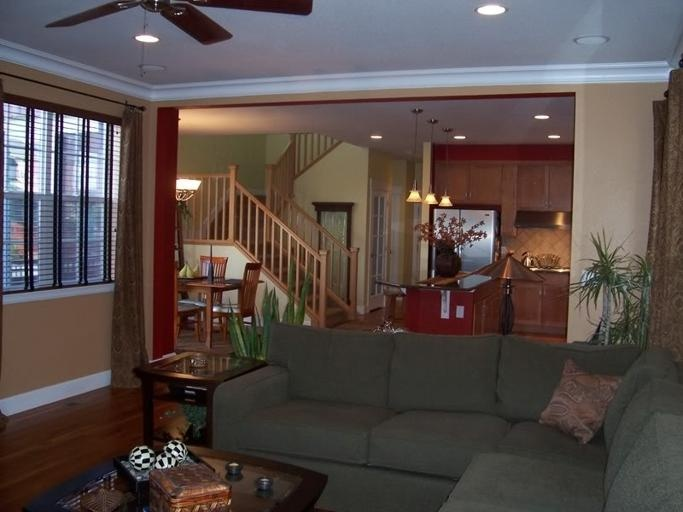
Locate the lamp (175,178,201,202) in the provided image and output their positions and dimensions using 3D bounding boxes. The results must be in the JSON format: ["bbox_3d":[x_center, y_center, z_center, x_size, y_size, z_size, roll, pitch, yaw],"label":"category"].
[{"bbox_3d":[-2.398,-1.014,8.448,0.297,0.428,1.560,-1,10,-16],"label":"lamp"}]

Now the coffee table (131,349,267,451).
[{"bbox_3d":[-1.165,1.168,3.921,0.678,0.574,0.624,11,-19,-24],"label":"coffee table"}]

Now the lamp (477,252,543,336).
[{"bbox_3d":[1.608,0.350,5.236,0.623,0.793,0.602,2,2,-35],"label":"lamp"}]

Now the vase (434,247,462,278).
[{"bbox_3d":[1.273,0.074,6.472,0.291,0.387,0.281,3,9,9],"label":"vase"}]

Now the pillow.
[{"bbox_3d":[1.428,0.873,3.231,0.118,0.387,0.389,27,1,-31],"label":"pillow"}]

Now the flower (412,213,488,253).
[{"bbox_3d":[1.471,-0.317,6.821,0.709,0.424,0.813,7,10,9],"label":"flower"}]

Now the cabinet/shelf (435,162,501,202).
[{"bbox_3d":[2.187,-1.262,9.521,1.156,0.700,0.390,-3,9,-8],"label":"cabinet/shelf"}]

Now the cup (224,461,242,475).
[{"bbox_3d":[-0.540,1.054,2.715,0.055,0.049,0.054,1,-6,0],"label":"cup"}]

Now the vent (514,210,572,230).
[{"bbox_3d":[3.392,-0.629,9.154,1.114,0.315,0.366,3,-11,13],"label":"vent"}]

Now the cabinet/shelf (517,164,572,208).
[{"bbox_3d":[3.485,-1.136,9.307,0.978,0.828,0.351,4,-8,4],"label":"cabinet/shelf"}]

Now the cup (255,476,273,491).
[{"bbox_3d":[-0.369,1.087,2.613,0.053,0.028,0.053,1,-2,0],"label":"cup"}]
